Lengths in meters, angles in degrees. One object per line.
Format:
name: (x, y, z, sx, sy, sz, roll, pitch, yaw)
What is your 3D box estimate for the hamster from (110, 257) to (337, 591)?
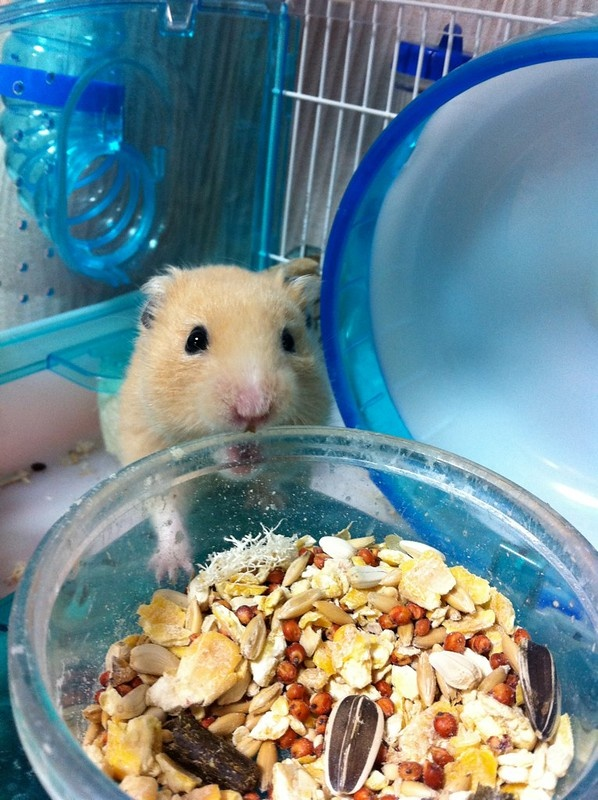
hamster: (-0.138, 0.015, 1.055, 0.323, 0.586, 0.418, -6, 97, -19)
